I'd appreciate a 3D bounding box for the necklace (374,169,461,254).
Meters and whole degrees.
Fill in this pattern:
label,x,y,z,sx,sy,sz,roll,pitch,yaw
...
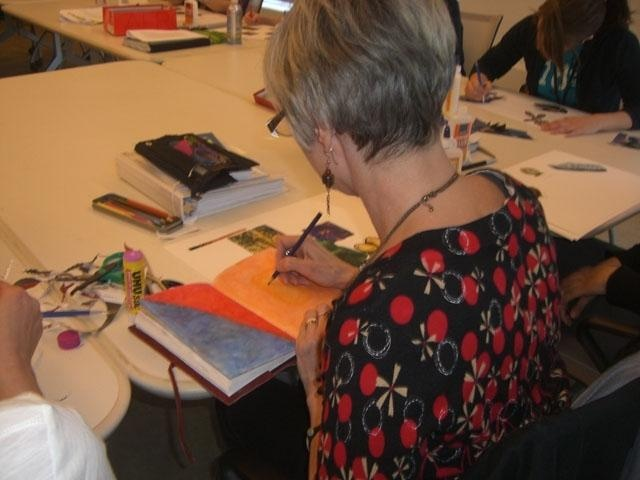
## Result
label,x,y,z,sx,sy,sz,roll,pitch,yaw
necklace,0.193,-0.056,1.044,0.033,0.189,0.029,45,27,23

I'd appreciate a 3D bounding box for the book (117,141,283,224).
label,x,y,z,sx,sy,sz,roll,pitch,yaw
book,-0.329,-0.155,1.660,0.278,0.072,0.293,-24,44,-37

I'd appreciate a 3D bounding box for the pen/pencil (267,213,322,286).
label,x,y,z,sx,sy,sz,roll,pitch,yaw
pen/pencil,-0.067,0.032,1.449,0.024,0.224,0.024,28,24,-23
